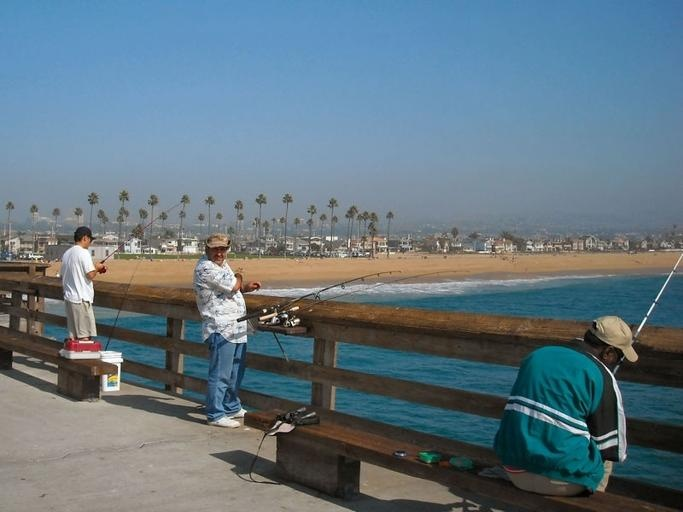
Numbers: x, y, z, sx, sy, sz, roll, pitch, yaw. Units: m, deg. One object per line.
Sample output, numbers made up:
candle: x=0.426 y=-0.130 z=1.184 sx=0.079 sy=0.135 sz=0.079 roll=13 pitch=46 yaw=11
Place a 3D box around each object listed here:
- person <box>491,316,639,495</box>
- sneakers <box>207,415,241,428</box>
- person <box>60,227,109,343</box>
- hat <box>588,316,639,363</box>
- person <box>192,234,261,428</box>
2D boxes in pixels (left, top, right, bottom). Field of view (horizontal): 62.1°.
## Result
person: x=0.888 y=0.651 z=2.281 sx=0.493 sy=0.693 sz=0.174 roll=4 pitch=0 yaw=12
sneakers: x=-0.852 y=1.216 z=4.202 sx=0.254 sy=0.069 sz=0.084 roll=0 pitch=2 yaw=1
person: x=-2.332 y=0.366 z=5.312 sx=0.474 sy=1.230 sz=0.573 roll=-1 pitch=2 yaw=-42
hat: x=1.161 y=0.342 z=2.416 sx=0.192 sy=0.199 sz=0.138 roll=2 pitch=-3 yaw=12
person: x=-0.845 y=0.559 z=4.358 sx=0.654 sy=1.364 sz=0.573 roll=-2 pitch=-9 yaw=3
